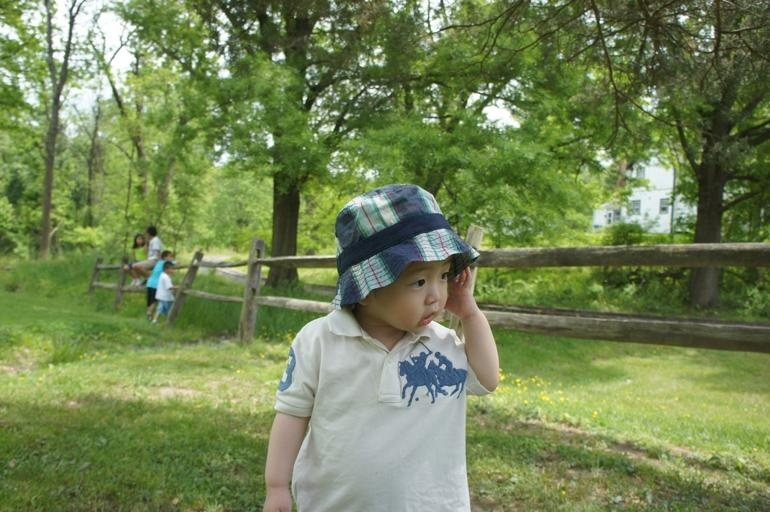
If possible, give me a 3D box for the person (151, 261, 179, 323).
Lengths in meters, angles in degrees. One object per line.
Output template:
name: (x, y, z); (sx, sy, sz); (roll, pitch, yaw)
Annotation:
person: (-5.229, 0.832, 15.454); (0.433, 1.556, 1.090); (6, -2, -20)
